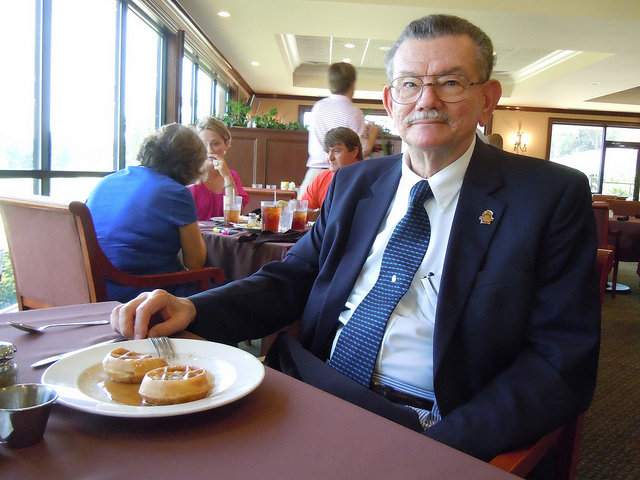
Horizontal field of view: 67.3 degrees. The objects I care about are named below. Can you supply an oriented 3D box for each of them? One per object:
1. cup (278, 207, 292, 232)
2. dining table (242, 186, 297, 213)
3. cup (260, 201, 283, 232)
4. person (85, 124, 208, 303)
[{"bbox_3d":[-0.199,-0.119,2.738,0.121,0.143,0.124,0,1,0],"label":"cup"},{"bbox_3d":[-0.520,-0.388,4.660,0.465,0.339,0.273,6,27,21],"label":"dining table"},{"bbox_3d":[-0.276,-0.127,2.635,0.113,0.187,0.116,6,17,-2],"label":"cup"},{"bbox_3d":[-0.836,-0.018,2.447,0.608,1.124,0.548,-2,8,-41],"label":"person"}]
